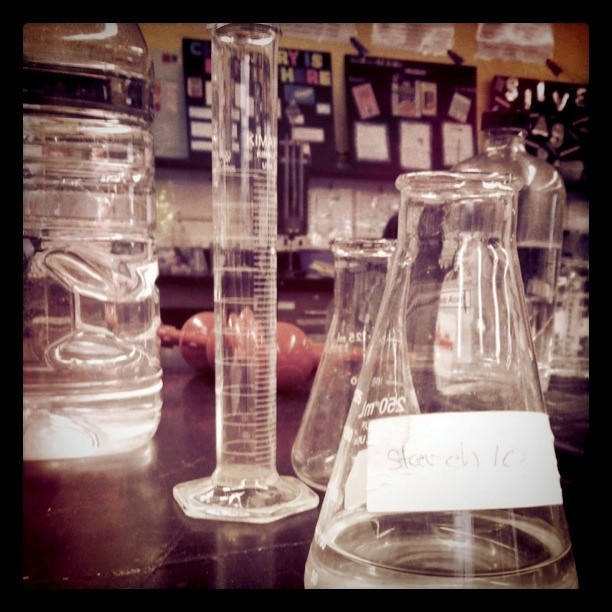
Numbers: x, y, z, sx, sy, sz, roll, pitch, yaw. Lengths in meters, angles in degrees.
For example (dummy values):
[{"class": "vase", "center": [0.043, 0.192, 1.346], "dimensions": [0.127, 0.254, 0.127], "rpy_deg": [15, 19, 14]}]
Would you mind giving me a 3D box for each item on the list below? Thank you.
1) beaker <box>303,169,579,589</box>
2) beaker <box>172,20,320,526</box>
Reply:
[{"class": "beaker", "center": [0.150, 0.063, 0.639], "dimensions": [0.217, 0.381, 0.182], "rpy_deg": [5, 16, 24]}, {"class": "beaker", "center": [-0.081, -0.043, 0.746], "dimensions": [0.152, 0.492, 0.235], "rpy_deg": [-4, 13, -13]}]
